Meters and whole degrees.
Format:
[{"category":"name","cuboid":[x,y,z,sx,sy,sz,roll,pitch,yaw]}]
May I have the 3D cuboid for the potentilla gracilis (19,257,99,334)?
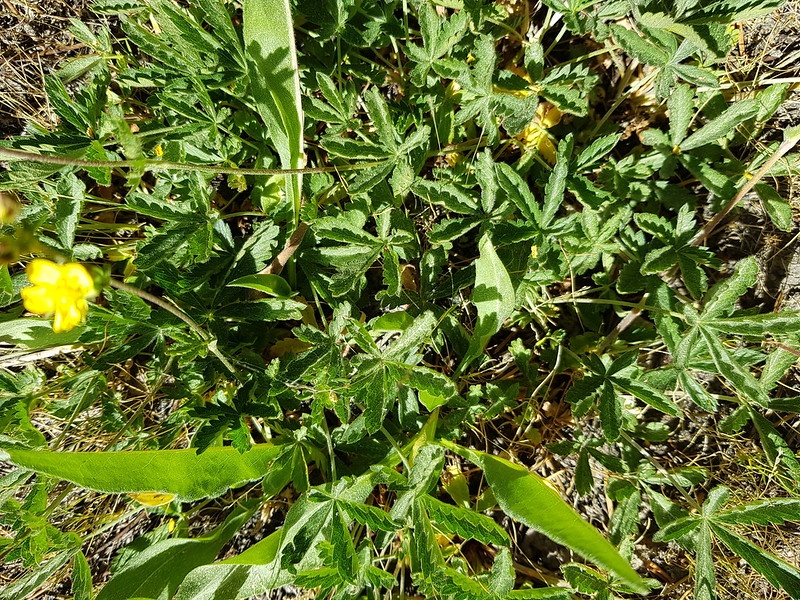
[{"category":"potentilla gracilis","cuboid":[-0.777,-0.017,1.460,0.169,0.084,0.167,19,100,-7]}]
